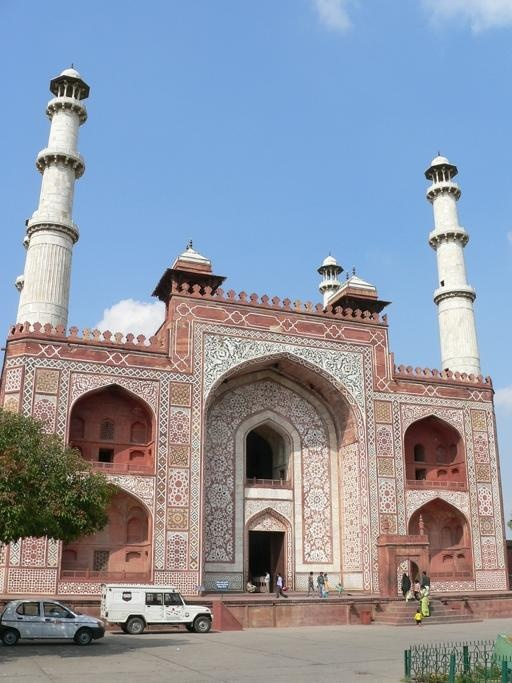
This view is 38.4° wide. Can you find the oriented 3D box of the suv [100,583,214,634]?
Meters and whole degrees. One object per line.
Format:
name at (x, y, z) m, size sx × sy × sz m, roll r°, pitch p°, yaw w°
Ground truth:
suv at (-1.865, 4.866, 13.805) m, size 1.913 × 0.770 × 1.022 m, roll 1°, pitch -15°, yaw -12°
